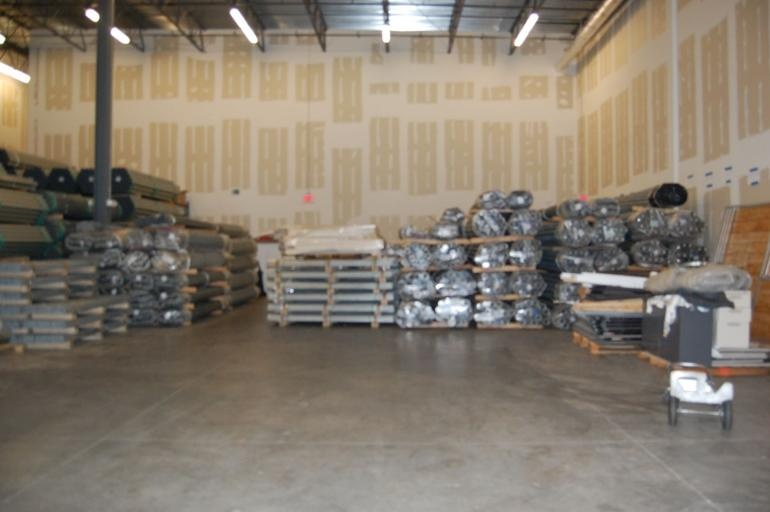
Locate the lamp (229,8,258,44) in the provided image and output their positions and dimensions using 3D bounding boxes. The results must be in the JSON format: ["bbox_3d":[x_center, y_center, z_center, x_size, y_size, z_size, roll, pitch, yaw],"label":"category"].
[{"bbox_3d":[-3.593,-5.928,14.594,0.305,0.262,1.342,-14,-26,13],"label":"lamp"}]
